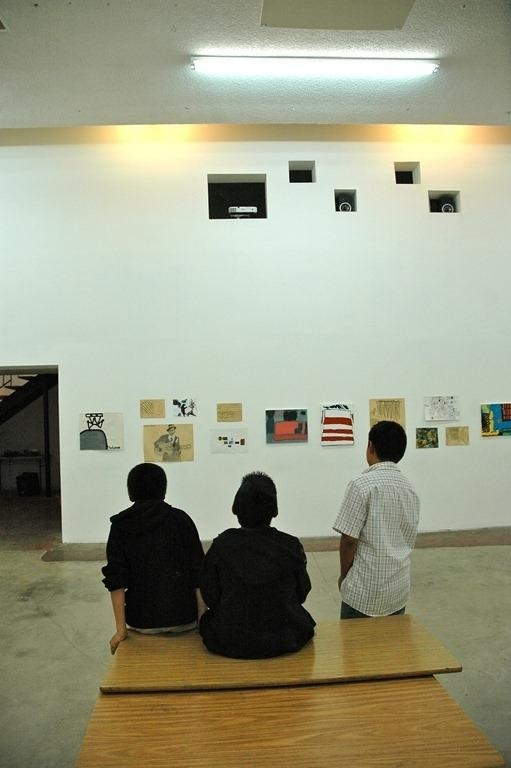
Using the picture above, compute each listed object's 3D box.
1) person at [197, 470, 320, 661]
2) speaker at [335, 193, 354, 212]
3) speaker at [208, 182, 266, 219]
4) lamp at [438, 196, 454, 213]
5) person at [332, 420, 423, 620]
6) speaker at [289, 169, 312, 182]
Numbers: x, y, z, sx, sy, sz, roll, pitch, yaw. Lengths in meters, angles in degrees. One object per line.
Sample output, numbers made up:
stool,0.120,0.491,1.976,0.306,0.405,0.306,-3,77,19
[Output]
person,0.045,0.841,3.240,0.655,0.797,0.586,-1,0,-20
speaker,1.064,-2.140,7.954,0.237,0.222,0.181,1,12,6
speaker,-0.208,-2.168,7.984,0.665,0.411,0.303,-2,12,-5
lamp,2.296,-2.131,8.073,0.183,0.201,0.260,3,13,18
person,0.610,0.736,3.504,0.483,1.043,0.322,-4,13,-15
speaker,0.552,-2.501,8.149,0.265,0.140,0.109,2,13,13
